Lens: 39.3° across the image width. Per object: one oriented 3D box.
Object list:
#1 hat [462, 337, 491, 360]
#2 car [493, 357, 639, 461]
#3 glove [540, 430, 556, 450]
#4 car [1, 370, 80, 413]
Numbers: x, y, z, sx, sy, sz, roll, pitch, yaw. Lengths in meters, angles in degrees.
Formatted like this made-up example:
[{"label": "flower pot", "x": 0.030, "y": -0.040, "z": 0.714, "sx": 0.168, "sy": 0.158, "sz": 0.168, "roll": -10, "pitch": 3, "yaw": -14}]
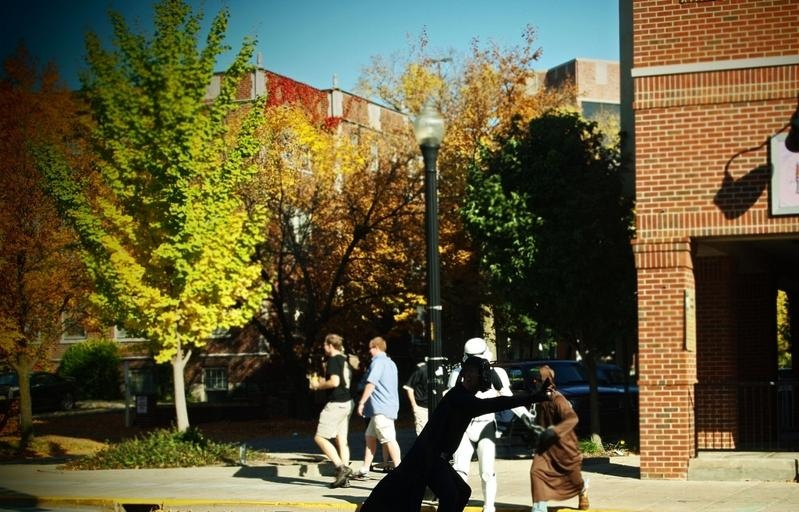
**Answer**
[{"label": "hat", "x": 1.510, "y": 1.835, "z": 21.922, "sx": 0.516, "sy": 0.507, "sz": 0.383, "roll": -13, "pitch": 12, "yaw": -1}, {"label": "car", "x": 4.559, "y": 4.151, "z": 31.255, "sx": 3.849, "sy": 2.075, "sz": 2.430, "roll": -7, "pitch": -8, "yaw": 35}, {"label": "glove", "x": 2.858, "y": 3.569, "z": 21.666, "sx": 0.348, "sy": 0.404, "sz": 0.465, "roll": -6, "pitch": -32, "yaw": 4}, {"label": "car", "x": -13.371, "y": 5.016, "z": 41.637, "sx": 1.402, "sy": 1.114, "sz": 3.152, "roll": -7, "pitch": -12, "yaw": 35}]
